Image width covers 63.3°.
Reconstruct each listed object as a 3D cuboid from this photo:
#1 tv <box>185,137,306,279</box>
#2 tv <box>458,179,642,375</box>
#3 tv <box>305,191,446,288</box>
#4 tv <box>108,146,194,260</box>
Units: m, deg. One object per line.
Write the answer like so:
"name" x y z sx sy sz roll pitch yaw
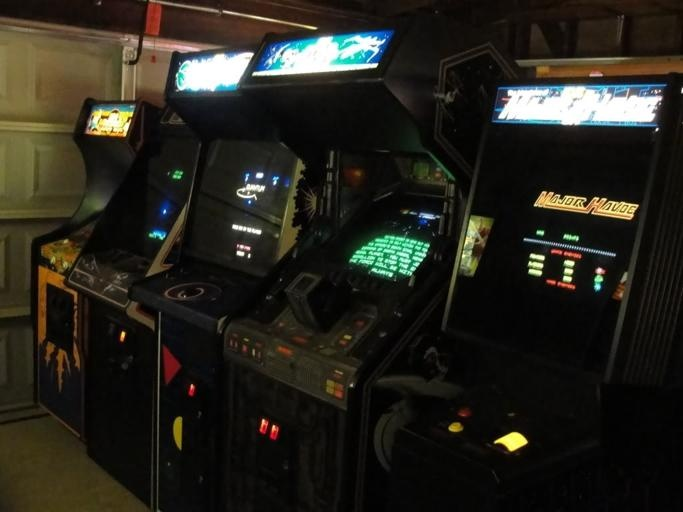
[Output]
"tv" -0.445 -0.237 2.752 0.614 0.607 0.214 13 2 35
"tv" 0.610 0.023 1.745 0.585 0.614 0.052 9 -18 48
"tv" 0.259 -0.045 2.371 0.363 0.125 0.516 13 47 28
"tv" -1.188 -0.306 3.542 0.435 0.795 0.456 12 -16 -7
